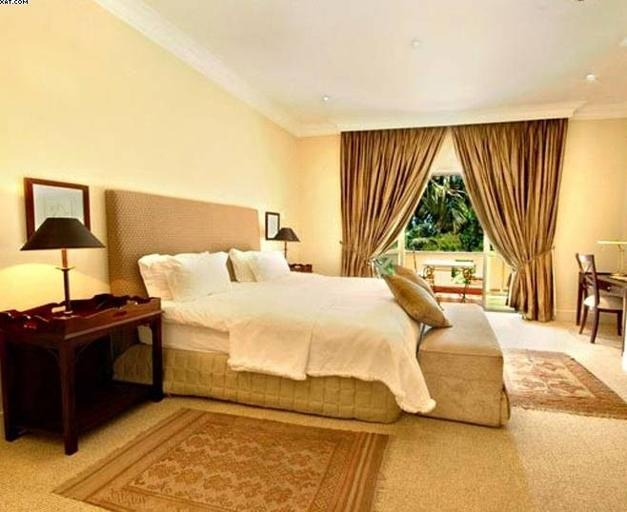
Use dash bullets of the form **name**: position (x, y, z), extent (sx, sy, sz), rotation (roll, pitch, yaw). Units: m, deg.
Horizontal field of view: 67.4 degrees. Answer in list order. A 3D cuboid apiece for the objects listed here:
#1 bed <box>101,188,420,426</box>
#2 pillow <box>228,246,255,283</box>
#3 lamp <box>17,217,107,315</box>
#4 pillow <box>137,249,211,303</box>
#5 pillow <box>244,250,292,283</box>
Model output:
- **bed**: position (-0.494, 0.378, 4.070), extent (1.793, 1.264, 1.894), rotation (0, 3, 15)
- **pillow**: position (-0.745, 0.099, 4.918), extent (0.090, 0.323, 0.322), rotation (-13, -8, 24)
- **lamp**: position (-1.609, 0.051, 3.129), extent (0.412, 0.617, 0.456), rotation (-2, 5, -8)
- **pillow**: position (-1.164, 0.184, 3.870), extent (0.374, 0.399, 0.114), rotation (1, -7, -29)
- **pillow**: position (-0.500, 0.105, 5.011), extent (0.124, 0.268, 0.717), rotation (-23, -3, 13)
